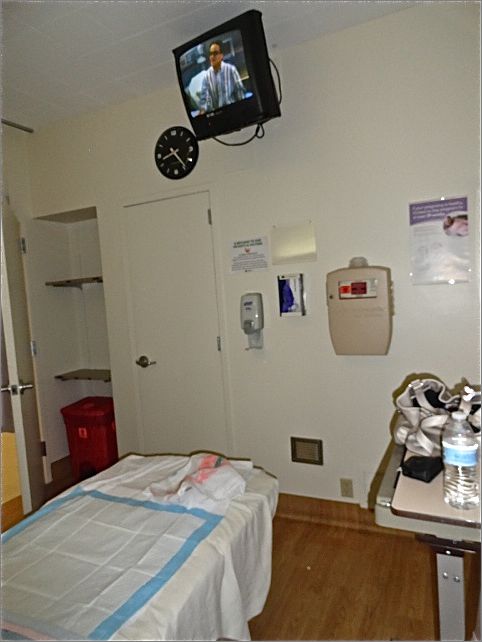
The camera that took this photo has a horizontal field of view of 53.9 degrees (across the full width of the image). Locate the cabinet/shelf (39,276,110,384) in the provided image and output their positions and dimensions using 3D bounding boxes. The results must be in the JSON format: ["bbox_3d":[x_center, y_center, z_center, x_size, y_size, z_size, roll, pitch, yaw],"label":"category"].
[{"bbox_3d":[-1.187,0.099,3.678,0.473,0.865,0.398,-2,7,16],"label":"cabinet/shelf"}]

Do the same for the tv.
[{"bbox_3d":[-0.099,-1.131,2.354,0.445,0.494,0.279,-10,3,15],"label":"tv"}]

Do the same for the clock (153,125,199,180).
[{"bbox_3d":[-0.398,-1.059,2.965,0.286,0.363,0.031,4,10,33],"label":"clock"}]
